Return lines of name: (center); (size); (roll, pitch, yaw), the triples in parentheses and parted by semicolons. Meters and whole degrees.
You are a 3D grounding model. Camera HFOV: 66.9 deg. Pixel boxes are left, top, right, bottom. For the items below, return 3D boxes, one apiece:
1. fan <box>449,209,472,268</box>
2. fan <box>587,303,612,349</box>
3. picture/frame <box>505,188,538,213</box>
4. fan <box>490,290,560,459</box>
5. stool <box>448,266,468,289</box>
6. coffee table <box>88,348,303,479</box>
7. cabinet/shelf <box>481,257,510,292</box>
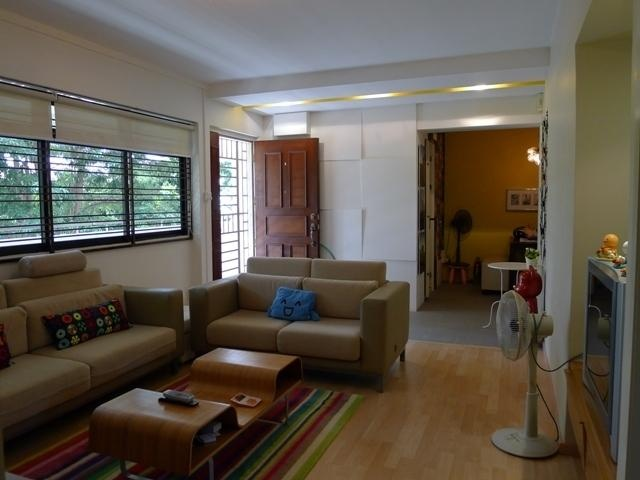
fan: (2.634, -0.064, 9.044); (0.423, 0.992, 0.796); (3, 10, 16)
fan: (1.480, 0.449, 2.532); (0.090, 0.169, 0.161); (-2, -1, -11)
picture/frame: (3.750, -0.749, 8.930); (0.486, 0.386, 0.038); (2, 4, 21)
fan: (1.445, 0.896, 3.386); (0.444, 1.160, 0.387); (-4, 10, -22)
stool: (2.553, 0.676, 8.943); (0.345, 0.382, 0.363); (0, -3, 14)
coffee table: (-0.802, 1.243, 3.387); (0.848, 0.555, 1.307); (6, 12, 29)
cabinet/shelf: (2.775, 0.541, 7.815); (0.483, 0.561, 0.505); (0, 0, 14)
